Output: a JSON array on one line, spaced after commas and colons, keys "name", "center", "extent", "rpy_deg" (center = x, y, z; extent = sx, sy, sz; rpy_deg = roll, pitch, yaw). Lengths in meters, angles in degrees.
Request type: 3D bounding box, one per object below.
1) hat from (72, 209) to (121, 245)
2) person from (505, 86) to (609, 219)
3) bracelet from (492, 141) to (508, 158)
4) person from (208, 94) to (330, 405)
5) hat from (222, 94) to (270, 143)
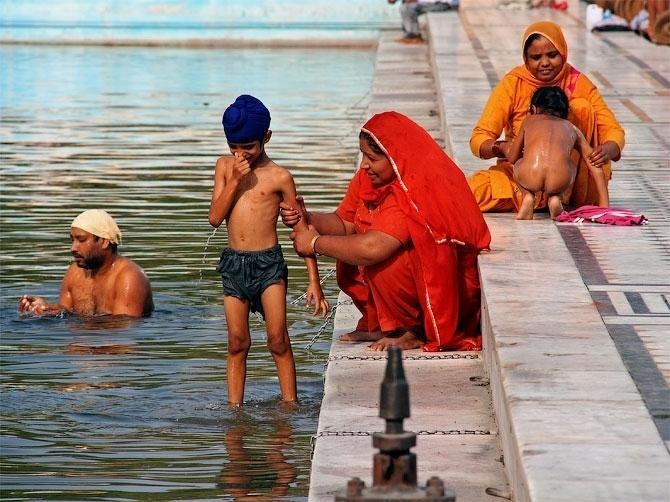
[{"name": "hat", "center": [-1.763, -0.194, 9.251], "extent": [0.355, 0.205, 0.319], "rpy_deg": [-8, -3, 20]}, {"name": "person", "center": [1.563, -0.700, 8.549], "extent": [0.635, 0.921, 0.613], "rpy_deg": [1, 13, 20]}, {"name": "bracelet", "center": [1.184, -0.740, 8.698], "extent": [0.142, 0.103, 0.078], "rpy_deg": [-5, 37, -24]}, {"name": "person", "center": [-0.495, -0.004, 7.340], "extent": [0.559, 1.876, 0.478], "rpy_deg": [-1, 13, 16]}, {"name": "hat", "center": [-0.497, -0.815, 7.262], "extent": [0.298, 0.275, 0.344], "rpy_deg": [6, 29, 17]}]
